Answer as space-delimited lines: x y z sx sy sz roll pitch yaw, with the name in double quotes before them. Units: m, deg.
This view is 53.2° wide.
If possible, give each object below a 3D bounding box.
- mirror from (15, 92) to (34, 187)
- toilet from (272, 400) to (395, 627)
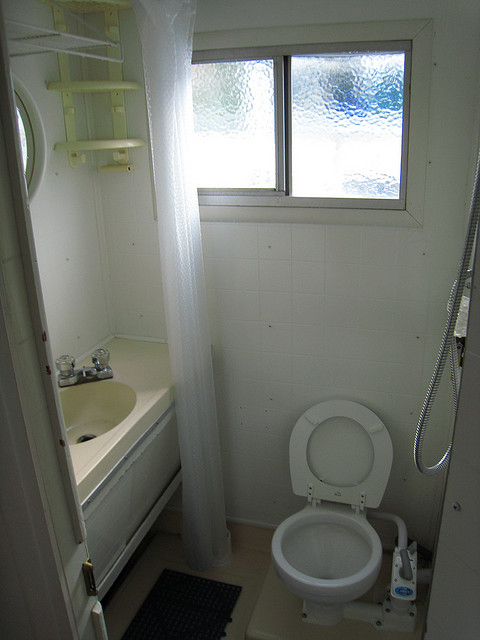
"mirror" -0.740 -0.624 1.664 0.043 0.304 0.181 -6 14 -22
"toilet" 0.370 0.832 1.965 0.325 0.835 0.592 6 18 22
